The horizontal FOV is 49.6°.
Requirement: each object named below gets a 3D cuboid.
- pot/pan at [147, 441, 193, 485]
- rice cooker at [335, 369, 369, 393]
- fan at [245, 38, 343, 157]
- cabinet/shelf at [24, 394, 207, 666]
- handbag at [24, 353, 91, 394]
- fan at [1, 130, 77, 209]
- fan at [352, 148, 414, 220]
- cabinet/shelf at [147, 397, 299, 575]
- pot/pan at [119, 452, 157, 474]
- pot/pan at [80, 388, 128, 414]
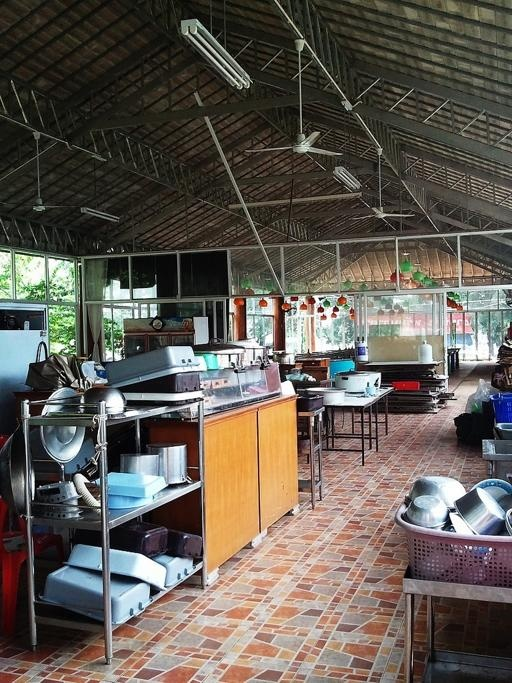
[{"bbox_3d":[-0.444,0.681,3.131,0.222,0.223,0.225,0,2,21],"label":"pot/pan"},{"bbox_3d":[1.302,0.591,7.650,0.442,0.276,0.363,-1,-2,12],"label":"rice cooker"},{"bbox_3d":[0.623,-3.161,7.153,1.248,1.334,1.125,-3,8,-13],"label":"fan"},{"bbox_3d":[-0.827,0.864,2.883,0.791,1.161,1.101,-2,-2,19],"label":"cabinet/shelf"},{"bbox_3d":[-1.926,0.317,5.404,0.479,0.276,0.626,1,-1,-11],"label":"handbag"},{"bbox_3d":[-4.358,-3.300,10.737,1.570,1.455,1.561,8,18,11],"label":"fan"},{"bbox_3d":[3.028,-3.963,13.783,1.739,1.581,1.553,-4,6,-29],"label":"fan"},{"bbox_3d":[-0.204,0.989,4.192,0.502,1.040,1.958,-3,-4,21],"label":"cabinet/shelf"},{"bbox_3d":[-0.612,0.639,2.971,0.137,0.090,0.133,0,0,-23],"label":"pot/pan"},{"bbox_3d":[-0.704,0.266,2.615,0.140,0.072,0.140,1,3,28],"label":"pot/pan"}]
